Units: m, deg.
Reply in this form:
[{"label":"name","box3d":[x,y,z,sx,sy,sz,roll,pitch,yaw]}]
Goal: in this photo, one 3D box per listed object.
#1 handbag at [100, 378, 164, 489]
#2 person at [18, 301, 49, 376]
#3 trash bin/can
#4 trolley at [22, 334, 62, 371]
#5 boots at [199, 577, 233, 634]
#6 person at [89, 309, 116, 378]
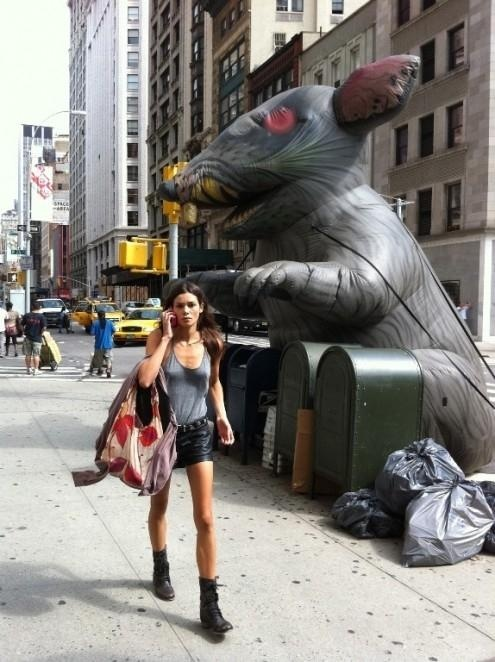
[{"label":"handbag","box3d":[-0.509,0.425,2.747,0.325,0.468,0.148,2,2,23]},{"label":"person","box3d":[-4.573,0.155,13.914,0.468,1.498,1.121,0,2,-18]},{"label":"trash bin/can","box3d":[0.587,0.640,4.727,0.566,1.111,1.302,0,2,-26]},{"label":"trolley","box3d":[-4.637,0.445,14.789,0.886,1.170,0.905,-4,15,-19]},{"label":"boots","box3d":[-0.132,1.110,2.663,0.126,0.215,0.176,1,2,-8]},{"label":"person","box3d":[-3.075,0.260,13.684,0.482,1.354,1.269,0,2,-14]}]
